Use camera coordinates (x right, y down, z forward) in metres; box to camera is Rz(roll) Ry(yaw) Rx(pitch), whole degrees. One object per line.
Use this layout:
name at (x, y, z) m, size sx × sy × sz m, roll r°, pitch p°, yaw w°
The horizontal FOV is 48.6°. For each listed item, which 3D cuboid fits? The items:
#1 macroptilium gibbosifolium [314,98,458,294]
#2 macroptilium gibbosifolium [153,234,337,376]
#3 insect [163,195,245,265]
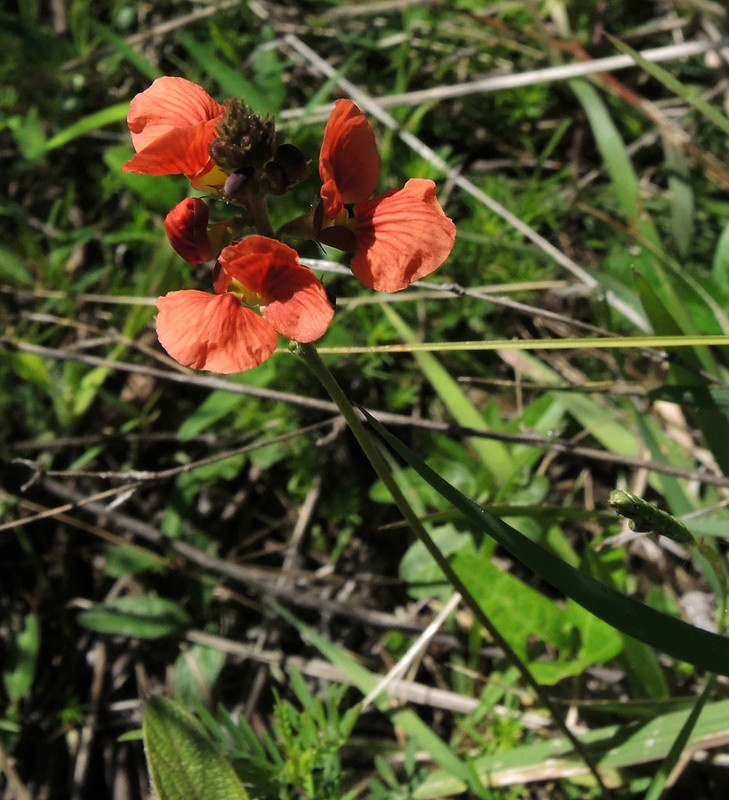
macroptilium gibbosifolium at (0.036, -0.382, 1.529) m, size 0.284 × 0.311 × 0.220 m, roll 36°, pitch 59°, yaw 23°
macroptilium gibbosifolium at (-0.226, -0.188, 1.450) m, size 0.308 × 0.220 × 0.226 m, roll -10°, pitch 53°, yaw -11°
insect at (-0.323, -0.327, 1.562) m, size 0.176 × 0.101 × 0.139 m, roll -13°, pitch 16°, yaw -34°
